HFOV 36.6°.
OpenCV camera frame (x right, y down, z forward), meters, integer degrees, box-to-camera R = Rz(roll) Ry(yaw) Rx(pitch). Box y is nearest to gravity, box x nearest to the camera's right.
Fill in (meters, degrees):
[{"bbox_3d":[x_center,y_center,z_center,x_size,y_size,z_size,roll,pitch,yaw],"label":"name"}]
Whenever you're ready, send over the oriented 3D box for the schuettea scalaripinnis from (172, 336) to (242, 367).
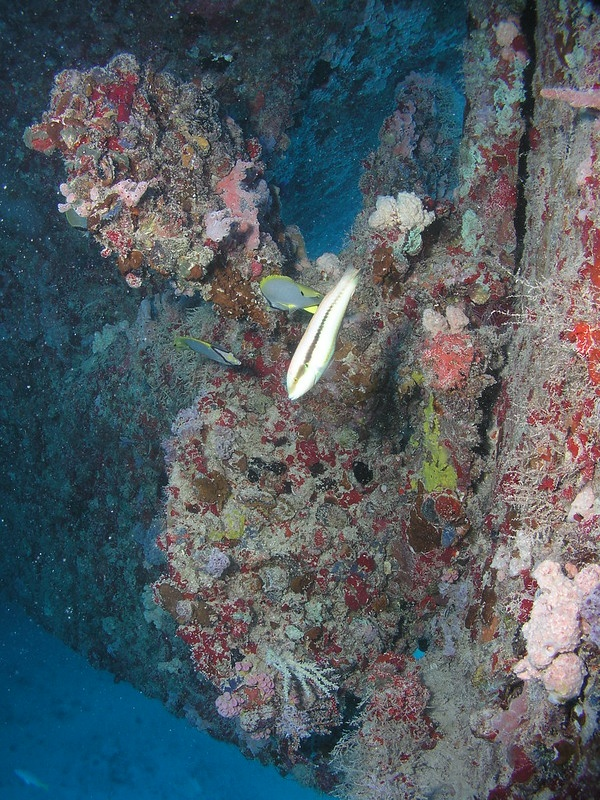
[{"bbox_3d":[-1.087,-0.591,10.904,0.614,0.092,0.287,23,-1,9],"label":"schuettea scalaripinnis"}]
